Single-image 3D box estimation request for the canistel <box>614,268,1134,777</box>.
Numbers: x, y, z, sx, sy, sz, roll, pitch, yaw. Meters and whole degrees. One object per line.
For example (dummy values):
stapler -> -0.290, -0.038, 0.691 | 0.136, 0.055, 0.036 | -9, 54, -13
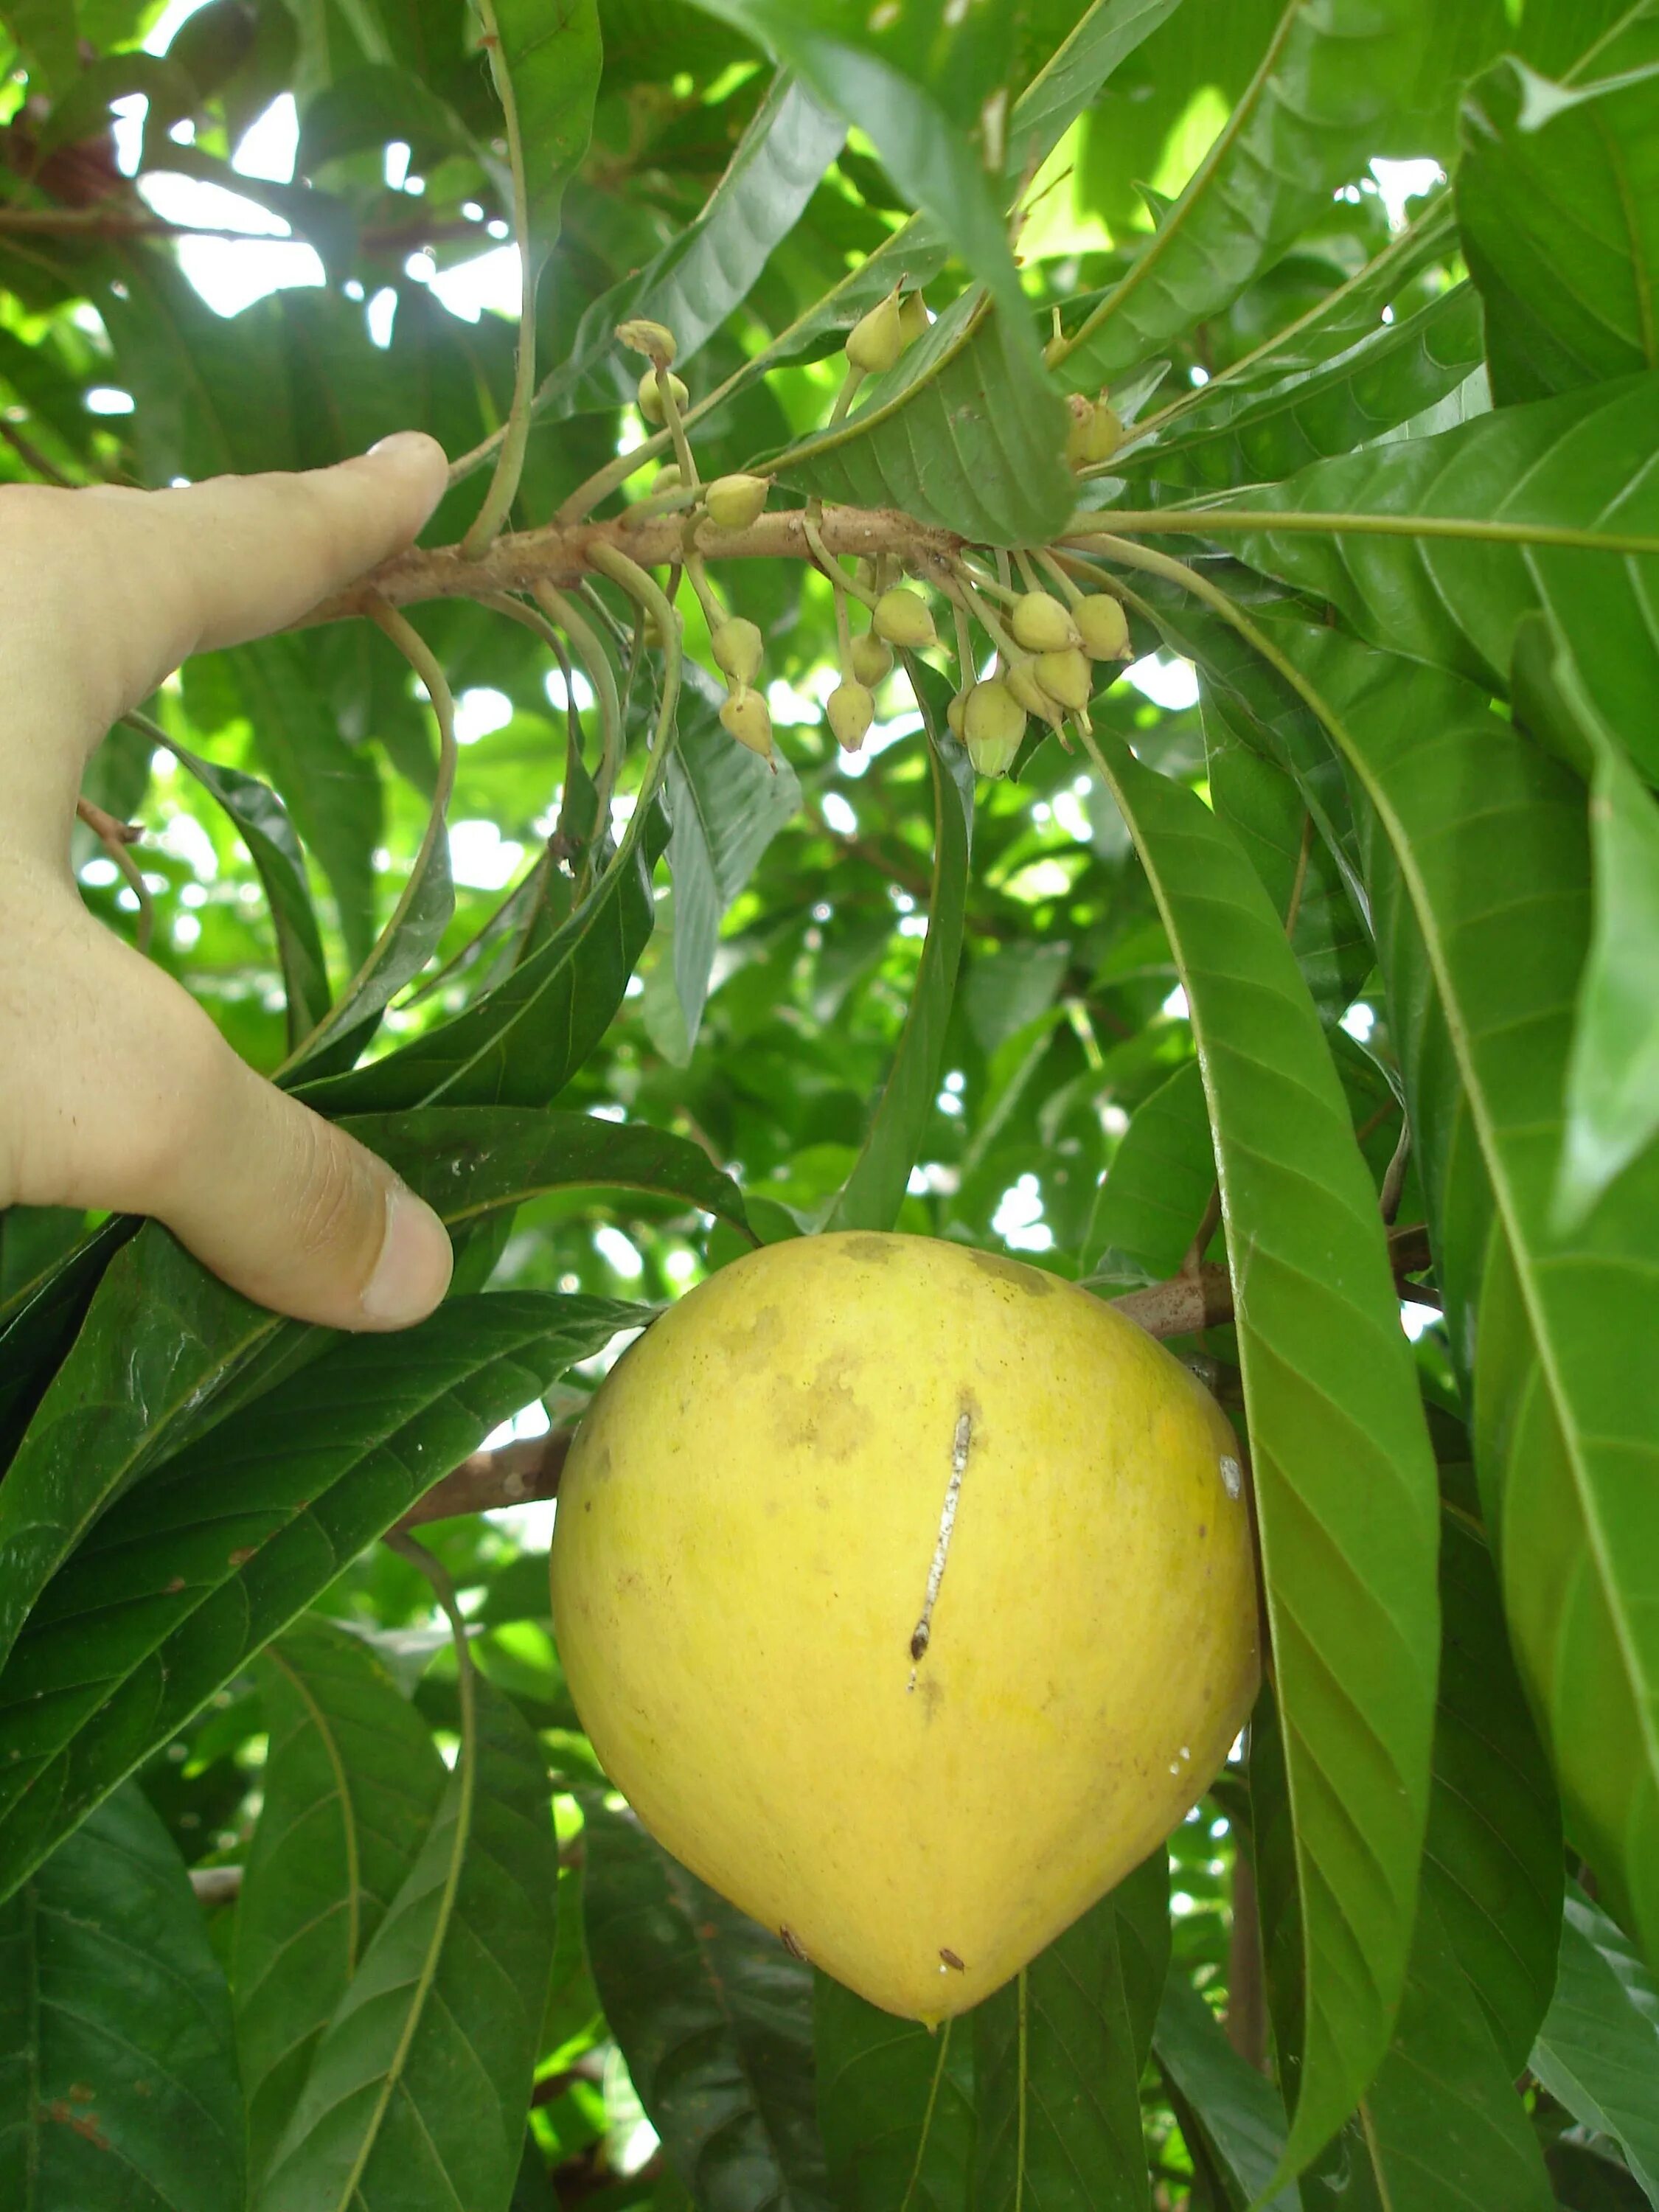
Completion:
canistel -> 0.029, -0.276, 1.171 | 0.251, 0.263, 0.228 | -7, 28, 10
